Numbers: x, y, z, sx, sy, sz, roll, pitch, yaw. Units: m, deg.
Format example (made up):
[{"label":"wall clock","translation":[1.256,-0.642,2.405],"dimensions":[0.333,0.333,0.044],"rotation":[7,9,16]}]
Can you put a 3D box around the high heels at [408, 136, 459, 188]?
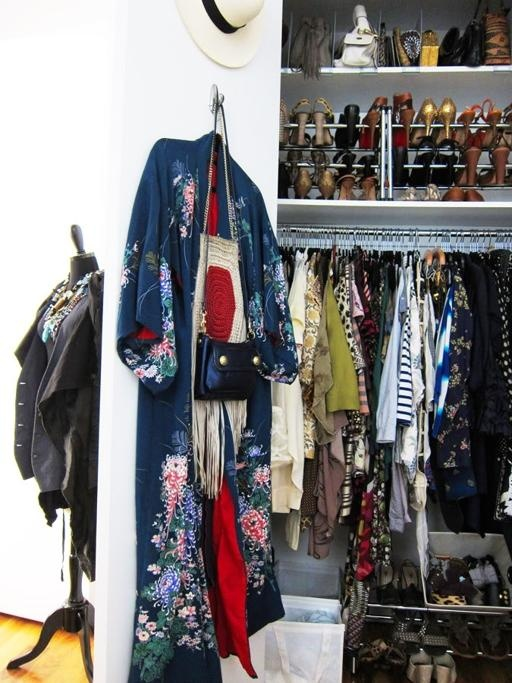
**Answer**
[{"label":"high heels","translation":[0.645,-0.650,2.283],"dimensions":[0.088,0.145,0.310],"rotation":[-1,21,2]}]

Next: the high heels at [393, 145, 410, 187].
[{"label":"high heels","translation":[0.521,-0.623,2.254],"dimensions":[0.036,0.069,0.161],"rotation":[1,37,3]}]

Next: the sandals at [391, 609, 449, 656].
[{"label":"sandals","translation":[0.551,0.969,2.081],"dimensions":[0.083,0.046,0.178],"rotation":[-1,17,4]}]

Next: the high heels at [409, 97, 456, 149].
[{"label":"high heels","translation":[0.642,-0.779,2.273],"dimensions":[0.078,0.136,0.284],"rotation":[-1,21,3]}]

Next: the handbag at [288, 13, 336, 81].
[{"label":"handbag","translation":[0.206,-1.102,2.276],"dimensions":[0.128,0.132,0.230],"rotation":[1,-26,-1]}]

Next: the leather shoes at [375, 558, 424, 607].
[{"label":"leather shoes","translation":[0.496,0.843,2.178],"dimensions":[0.113,0.079,0.262],"rotation":[-2,12,8]}]

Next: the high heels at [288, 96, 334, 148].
[{"label":"high heels","translation":[0.201,-0.774,2.269],"dimensions":[0.163,0.168,0.234],"rotation":[-3,6,7]}]

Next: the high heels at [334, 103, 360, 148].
[{"label":"high heels","translation":[0.334,-0.777,2.289],"dimensions":[0.067,0.119,0.231],"rotation":[1,7,2]}]

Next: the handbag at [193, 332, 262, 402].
[{"label":"handbag","translation":[-0.066,0.077,1.474],"dimensions":[0.100,0.209,0.173],"rotation":[-7,-9,43]}]

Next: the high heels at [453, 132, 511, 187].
[{"label":"high heels","translation":[0.814,-0.675,2.270],"dimensions":[0.090,0.158,0.341],"rotation":[0,28,5]}]

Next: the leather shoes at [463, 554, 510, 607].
[{"label":"leather shoes","translation":[0.792,0.827,2.163],"dimensions":[0.080,0.050,0.143],"rotation":[4,50,-12]}]

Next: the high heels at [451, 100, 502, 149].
[{"label":"high heels","translation":[0.813,-0.861,2.366],"dimensions":[0.101,0.175,0.368],"rotation":[0,32,5]}]
